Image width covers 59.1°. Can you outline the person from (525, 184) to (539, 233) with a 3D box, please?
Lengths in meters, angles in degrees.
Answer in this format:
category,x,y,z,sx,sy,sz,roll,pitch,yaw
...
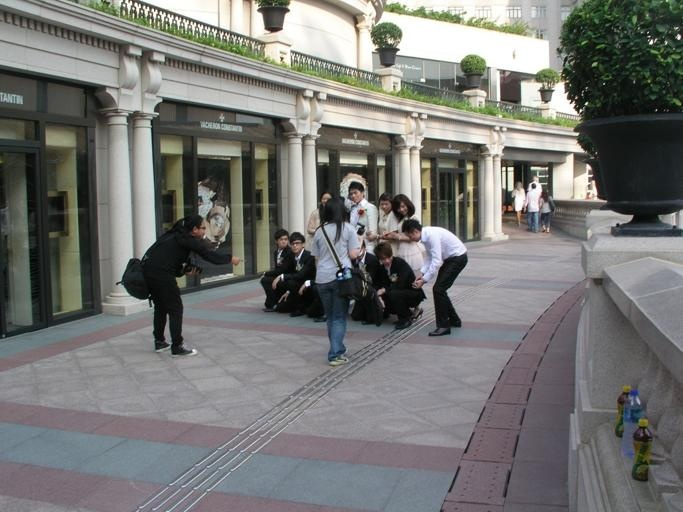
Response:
category,x,y,z,sx,sy,sz,roll,pitch,yaw
person,9.191,-2.334,29.005,0.632,2.391,0.759,2,7,19

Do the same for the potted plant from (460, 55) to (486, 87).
category,x,y,z,sx,sy,sz,roll,pitch,yaw
potted plant,6.038,-8.451,27.617,1.142,1.656,1.312,3,4,17

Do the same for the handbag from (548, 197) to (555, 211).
category,x,y,z,sx,sy,sz,roll,pitch,yaw
handbag,10.173,-2.477,29.219,0.189,0.640,1.274,3,7,26

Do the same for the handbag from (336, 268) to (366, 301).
category,x,y,z,sx,sy,sz,roll,pitch,yaw
handbag,0.124,0.374,7.692,0.404,0.422,0.313,-1,3,-28

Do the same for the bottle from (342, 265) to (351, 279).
category,x,y,z,sx,sy,sz,roll,pitch,yaw
bottle,0.056,0.218,7.751,0.135,0.198,0.427,-4,-2,0

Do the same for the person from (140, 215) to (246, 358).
category,x,y,z,sx,sy,sz,roll,pitch,yaw
person,-2.203,0.431,8.334,1.044,1.964,0.534,1,7,9

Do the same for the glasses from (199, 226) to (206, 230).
category,x,y,z,sx,sy,sz,roll,pitch,yaw
glasses,-1.940,-0.386,8.355,0.082,0.028,0.087,0,10,21

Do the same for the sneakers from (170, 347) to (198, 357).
category,x,y,z,sx,sy,sz,roll,pitch,yaw
sneakers,-2.200,1.348,8.464,0.302,0.149,0.139,-2,3,-15

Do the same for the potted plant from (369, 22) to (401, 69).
category,x,y,z,sx,sy,sz,roll,pitch,yaw
potted plant,1.657,-7.756,22.277,1.225,1.618,1.327,2,10,21

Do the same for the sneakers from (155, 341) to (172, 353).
category,x,y,z,sx,sy,sz,roll,pitch,yaw
sneakers,-2.580,1.314,8.632,0.111,0.164,0.264,5,7,29

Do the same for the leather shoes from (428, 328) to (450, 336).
category,x,y,z,sx,sy,sz,roll,pitch,yaw
leather shoes,1.524,1.204,9.507,0.361,0.168,0.125,1,1,-22

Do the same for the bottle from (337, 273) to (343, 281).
category,x,y,z,sx,sy,sz,roll,pitch,yaw
bottle,-0.032,0.275,7.741,0.084,0.094,0.089,2,-2,-20
